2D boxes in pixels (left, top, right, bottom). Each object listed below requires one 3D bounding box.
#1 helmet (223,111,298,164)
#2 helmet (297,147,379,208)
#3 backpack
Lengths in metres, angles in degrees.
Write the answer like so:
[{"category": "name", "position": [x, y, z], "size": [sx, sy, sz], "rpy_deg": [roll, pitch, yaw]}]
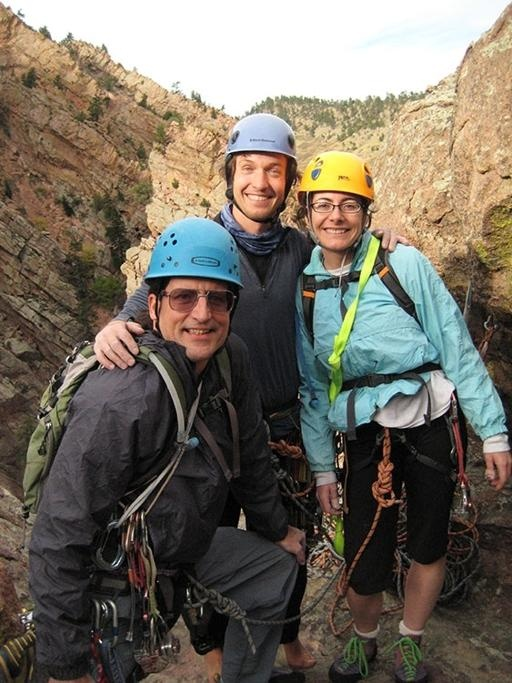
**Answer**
[{"category": "helmet", "position": [0.030, -1.130, 3.396], "size": [0.294, 0.246, 0.332], "rpy_deg": [2, 36, -5]}, {"category": "helmet", "position": [0.400, -0.809, 2.982], "size": [0.264, 0.234, 0.337], "rpy_deg": [4, 7, 0]}, {"category": "backpack", "position": [-0.551, 0.349, 2.291], "size": [0.784, 0.690, 0.369], "rpy_deg": [-2, 7, 4]}]
